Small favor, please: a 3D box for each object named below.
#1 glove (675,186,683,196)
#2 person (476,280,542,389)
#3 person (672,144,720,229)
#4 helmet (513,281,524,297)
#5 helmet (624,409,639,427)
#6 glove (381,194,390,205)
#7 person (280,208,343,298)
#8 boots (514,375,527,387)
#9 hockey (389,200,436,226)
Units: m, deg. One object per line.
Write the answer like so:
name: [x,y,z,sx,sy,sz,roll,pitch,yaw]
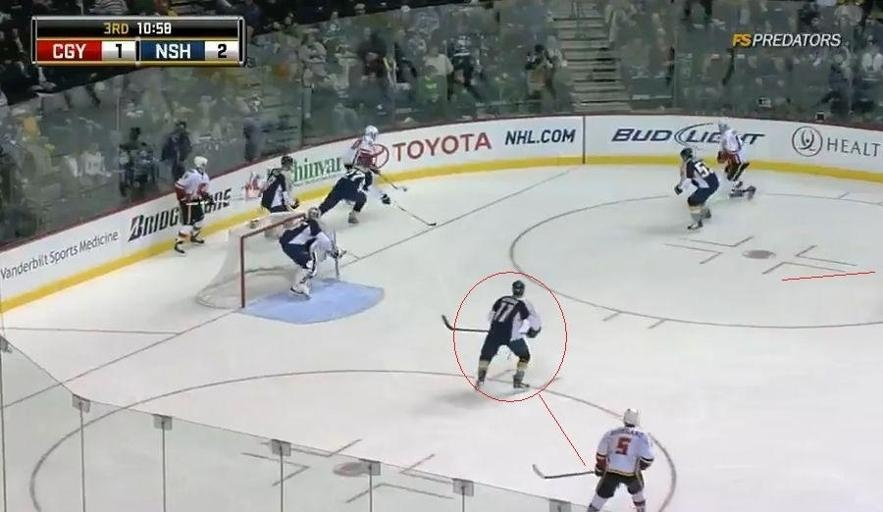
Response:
glove: [5.733,-1.613,25.432,0.189,0.221,0.205,-18,21,-3]
person: [1.180,1.438,18.745,1.121,1.971,0.525,-2,19,1]
person: [6.108,-1.703,25.169,0.945,1.835,1.407,3,19,13]
helmet: [1.354,0.576,18.638,0.240,0.248,0.285,8,-6,0]
helmet: [2.991,2.543,16.417,0.243,0.234,0.251,7,4,10]
glove: [-1.357,-1.362,25.360,0.209,0.289,0.125,-17,24,-22]
person: [-2.747,-0.083,22.000,1.027,1.742,0.678,-12,21,-27]
boots: [1.368,2.279,18.962,0.203,0.234,0.270,1,-2,29]
hockey: [-0.730,-1.052,25.888,1.446,0.158,0.210,23,17,21]
